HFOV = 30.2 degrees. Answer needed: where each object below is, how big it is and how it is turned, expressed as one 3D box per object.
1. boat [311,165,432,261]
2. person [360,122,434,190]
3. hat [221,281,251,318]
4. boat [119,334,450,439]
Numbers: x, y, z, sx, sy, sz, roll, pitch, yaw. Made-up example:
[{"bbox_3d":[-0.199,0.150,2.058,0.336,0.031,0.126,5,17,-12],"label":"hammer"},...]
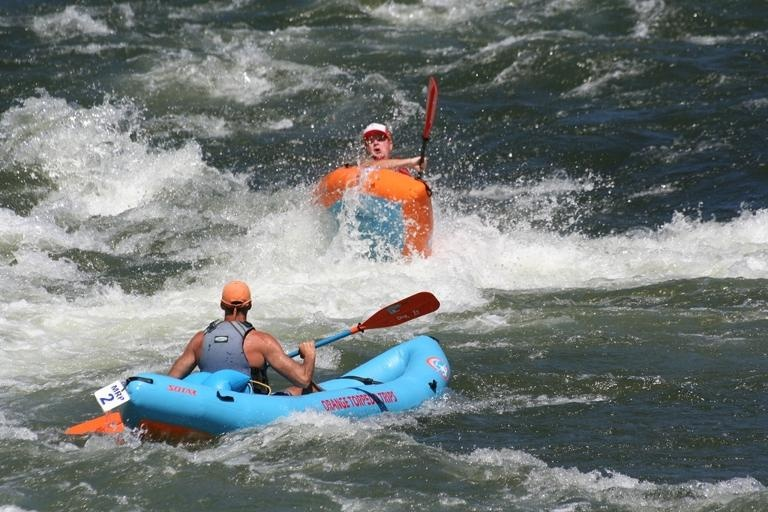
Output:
[{"bbox_3d":[-0.121,-0.721,21.171,1.643,1.181,0.512,31,42,8],"label":"boat"},{"bbox_3d":[0.060,-1.561,21.957,0.763,0.460,1.200,-11,37,-8],"label":"person"},{"bbox_3d":[-1.951,0.542,18.566,0.411,0.431,0.476,-3,22,-10],"label":"hat"},{"bbox_3d":[-1.071,1.791,18.340,3.619,0.682,1.497,-4,9,-24],"label":"boat"}]
